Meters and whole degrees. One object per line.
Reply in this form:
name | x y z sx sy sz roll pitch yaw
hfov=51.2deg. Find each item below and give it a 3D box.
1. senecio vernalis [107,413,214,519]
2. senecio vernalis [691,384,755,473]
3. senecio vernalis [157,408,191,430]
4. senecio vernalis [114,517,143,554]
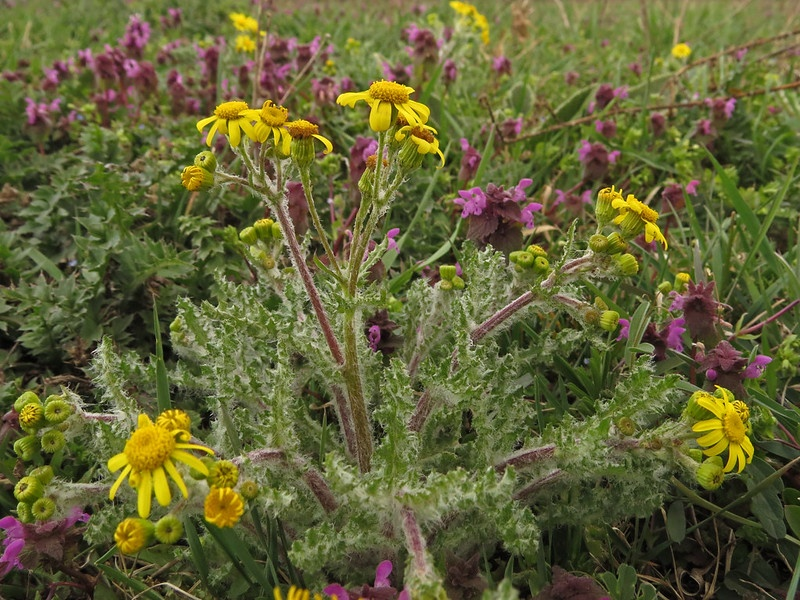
senecio vernalis | -0.890 0.624 3.063 0.344 0.191 0.393 -23 66 -10
senecio vernalis | 1.270 0.522 3.219 0.312 0.075 0.297 -31 82 -33
senecio vernalis | -0.846 0.454 3.115 0.083 0.038 0.085 13 8 -36
senecio vernalis | -1.003 0.884 3.081 0.062 0.138 0.097 -11 0 -44
